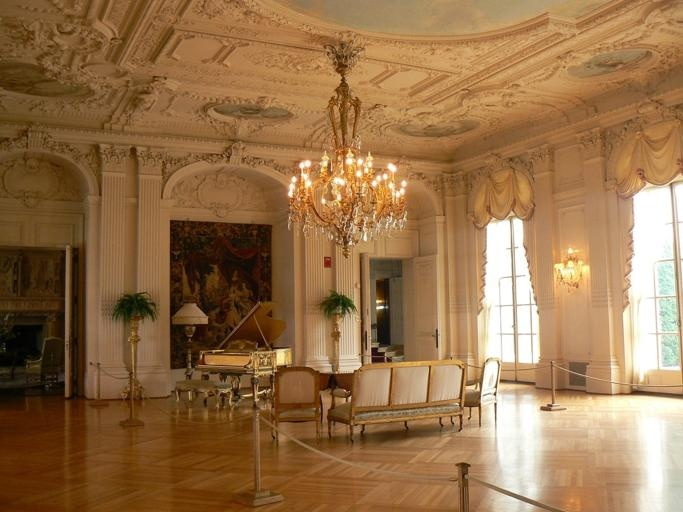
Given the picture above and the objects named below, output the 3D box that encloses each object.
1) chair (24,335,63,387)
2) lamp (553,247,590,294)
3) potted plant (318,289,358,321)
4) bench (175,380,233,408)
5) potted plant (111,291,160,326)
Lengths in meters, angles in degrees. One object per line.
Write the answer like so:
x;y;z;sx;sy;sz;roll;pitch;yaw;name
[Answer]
-7.670;2.715;13.859;0.868;1.196;2.708;4;-10;-30;chair
4.741;0.266;11.087;0.216;0.879;0.695;4;-10;-25;lamp
-0.086;1.137;12.486;0.777;0.481;0.734;-1;-5;26;potted plant
-2.413;2.499;10.058;0.998;0.384;0.952;0;-4;30;bench
-4.135;1.084;11.067;0.968;0.562;0.920;11;-16;-36;potted plant
